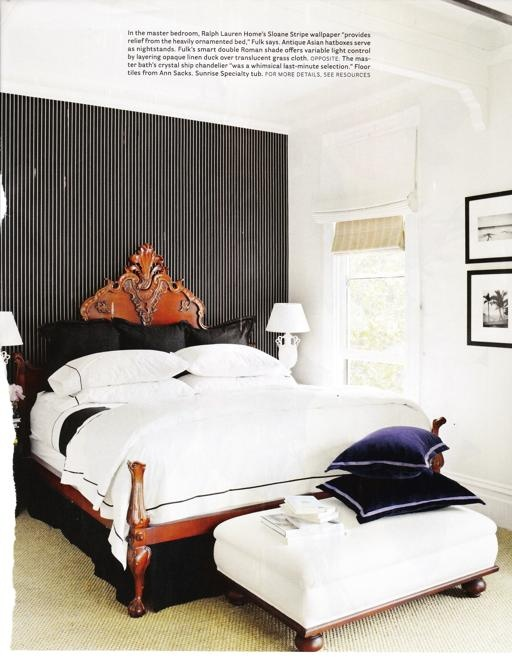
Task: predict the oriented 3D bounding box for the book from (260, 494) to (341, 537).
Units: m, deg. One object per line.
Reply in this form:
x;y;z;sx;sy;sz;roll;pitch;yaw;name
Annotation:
0.193;0.739;2.180;0.159;0.046;0.166;-3;5;-29;book

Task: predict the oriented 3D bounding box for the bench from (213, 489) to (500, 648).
0.442;0.939;2.274;1.107;0.378;0.496;0;0;-19;bench

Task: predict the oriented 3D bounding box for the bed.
-0.393;0.244;3.478;2.142;1.754;2.091;-1;2;-33;bed

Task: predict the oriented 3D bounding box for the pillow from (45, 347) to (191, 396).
-0.882;0.266;3.626;0.836;0.277;0.389;0;0;-32;pillow

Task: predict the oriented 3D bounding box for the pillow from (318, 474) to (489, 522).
0.626;0.717;2.430;0.316;0.104;0.332;-1;-6;-15;pillow

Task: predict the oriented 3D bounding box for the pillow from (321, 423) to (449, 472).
0.617;0.560;2.626;0.544;0.184;0.355;0;0;15;pillow
